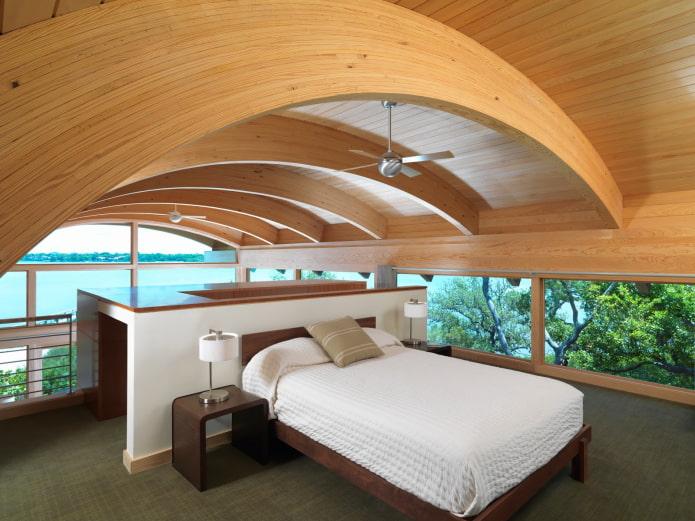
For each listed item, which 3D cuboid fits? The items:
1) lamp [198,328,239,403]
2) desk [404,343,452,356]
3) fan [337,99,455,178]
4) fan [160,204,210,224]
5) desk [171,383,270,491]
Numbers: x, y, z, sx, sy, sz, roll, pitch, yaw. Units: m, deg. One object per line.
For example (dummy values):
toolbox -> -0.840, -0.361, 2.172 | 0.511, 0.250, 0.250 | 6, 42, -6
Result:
lamp -> -1.068, 0.844, 4.022 | 0.308, 0.583, 0.481 | -2, 11, -16
desk -> 1.006, 1.010, 5.802 | 0.334, 0.190, 0.318 | -5, 5, -44
fan -> 0.548, -1.165, 4.976 | 1.048, 0.491, 0.922 | 2, 4, 17
fan -> -3.290, -0.926, 9.903 | 0.699, 0.254, 0.768 | -5, -1, 40
desk -> -0.994, 1.333, 4.095 | 0.939, 0.669, 0.709 | 0, -2, -42
